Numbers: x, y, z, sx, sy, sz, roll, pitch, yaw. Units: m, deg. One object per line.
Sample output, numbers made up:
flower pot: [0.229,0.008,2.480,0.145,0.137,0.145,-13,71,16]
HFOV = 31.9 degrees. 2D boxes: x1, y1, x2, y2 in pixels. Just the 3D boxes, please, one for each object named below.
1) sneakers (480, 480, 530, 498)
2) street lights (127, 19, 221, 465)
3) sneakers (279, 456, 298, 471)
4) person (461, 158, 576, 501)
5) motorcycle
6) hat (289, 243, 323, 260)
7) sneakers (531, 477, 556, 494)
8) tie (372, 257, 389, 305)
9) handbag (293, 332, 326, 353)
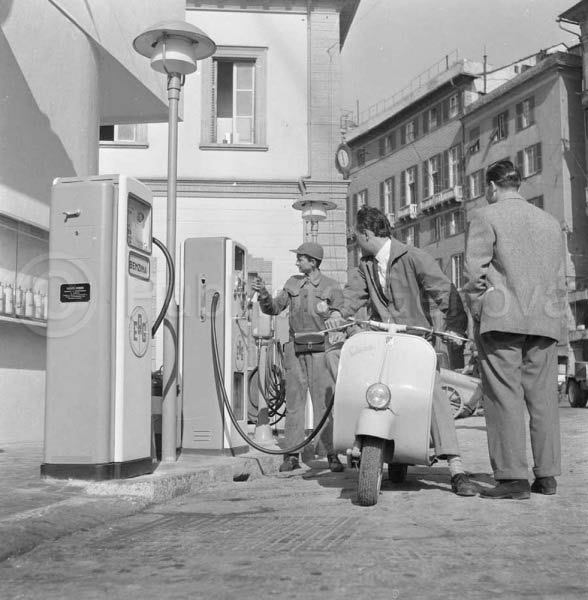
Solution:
sneakers: [1.182,1.077,5.782,0.279,0.104,0.187,-2,-8,11]
street lights: [-0.853,-0.412,6.958,0.581,3.026,0.754,-3,-7,21]
sneakers: [-0.052,1.249,7.780,0.123,0.125,0.350,-1,-8,2]
person: [1.297,0.134,6.009,0.588,2.024,0.421,-1,-7,8]
motorcycle: [0.612,0.702,5.986,0.546,0.840,1.230,-3,-12,20]
hat: [0.134,-0.387,8.248,0.162,0.094,0.132,11,-2,-7]
sneakers: [1.429,1.079,5.913,0.144,0.098,0.162,-3,-9,18]
tie: [0.537,-0.096,6.564,0.047,0.251,0.156,-4,1,22]
handbag: [0.102,0.330,7.866,0.238,0.206,0.181,-2,-10,13]
